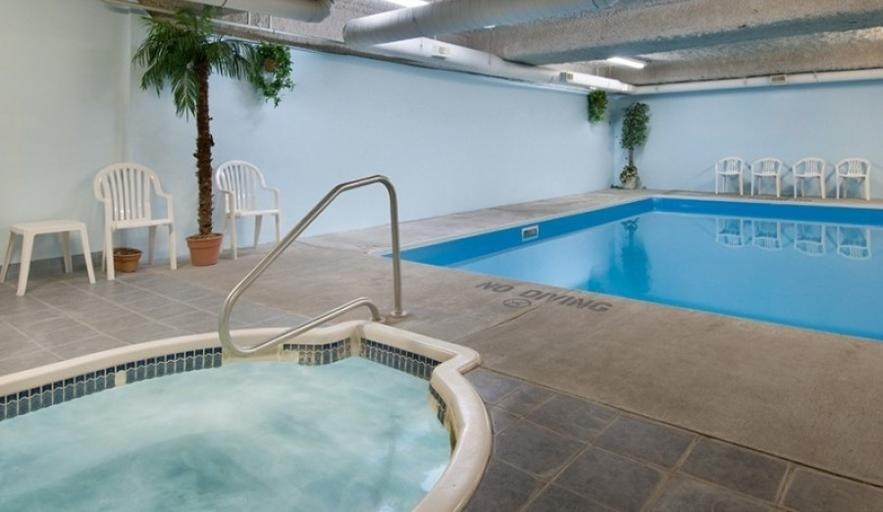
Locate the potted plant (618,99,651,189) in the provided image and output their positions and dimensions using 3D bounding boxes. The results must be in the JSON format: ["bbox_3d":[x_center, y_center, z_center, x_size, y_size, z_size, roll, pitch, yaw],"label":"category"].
[{"bbox_3d":[5.970,-3.471,15.575,0.819,2.598,0.887,6,16,20],"label":"potted plant"}]

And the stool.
[{"bbox_3d":[-4.722,-0.038,5.905,0.887,0.737,0.935,-10,17,-36],"label":"stool"}]
